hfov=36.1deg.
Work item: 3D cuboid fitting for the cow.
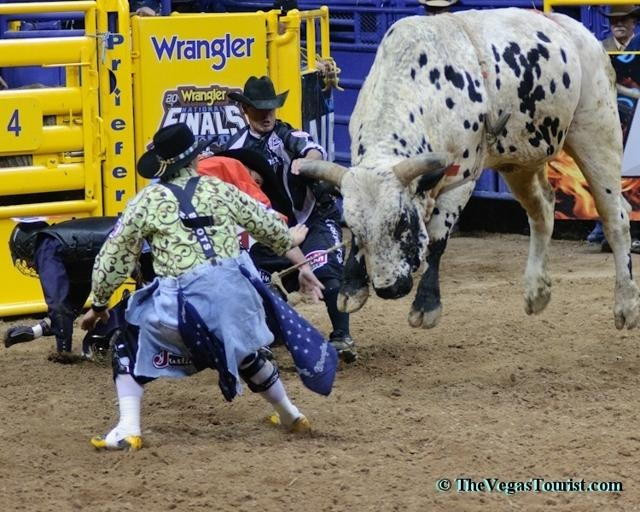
[{"bbox_3d":[1.100,-0.509,6.544,2.700,2.315,0.957,-12,17,-42],"label":"cow"}]

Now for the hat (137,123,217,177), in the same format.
[{"bbox_3d":[-0.786,-0.523,5.334,0.341,0.128,0.299,-42,38,-17],"label":"hat"}]

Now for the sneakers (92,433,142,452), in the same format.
[{"bbox_3d":[-1.104,1.021,5.401,0.286,0.122,0.101,4,-4,15],"label":"sneakers"}]

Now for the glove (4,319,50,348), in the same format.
[{"bbox_3d":[-2.144,0.568,7.167,0.323,0.128,0.127,-14,38,3],"label":"glove"}]

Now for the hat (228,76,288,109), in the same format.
[{"bbox_3d":[-0.475,-1.199,7.067,0.516,0.232,0.579,-4,5,-8],"label":"hat"}]

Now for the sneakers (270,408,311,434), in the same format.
[{"bbox_3d":[-0.187,0.953,5.677,0.233,0.095,0.095,9,-3,31],"label":"sneakers"}]
